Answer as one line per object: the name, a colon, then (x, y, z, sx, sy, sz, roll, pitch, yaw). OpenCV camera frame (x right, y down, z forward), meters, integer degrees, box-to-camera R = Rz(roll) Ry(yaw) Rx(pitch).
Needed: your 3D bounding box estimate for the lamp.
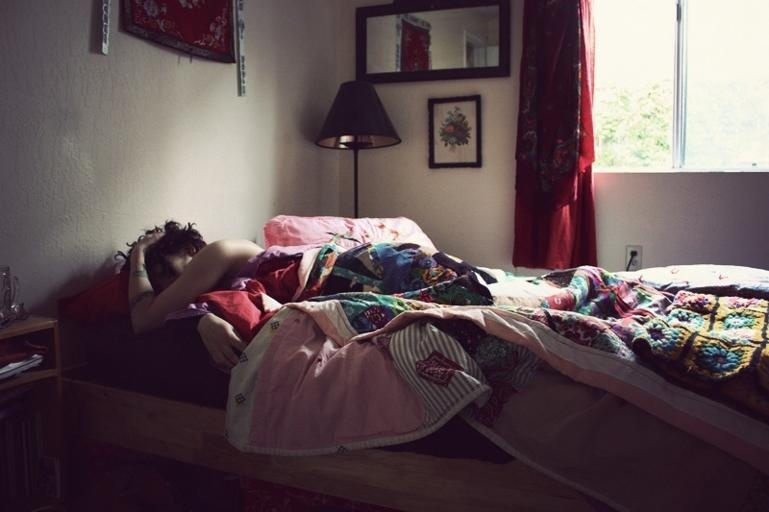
lamp: (-0.183, -0.686, 3.894, 0.559, 0.911, 0.540, 2, 11, 1)

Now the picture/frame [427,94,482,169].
picture/frame: (0.496, -0.855, 3.950, 0.493, 0.655, 0.041, 0, 2, 18)
